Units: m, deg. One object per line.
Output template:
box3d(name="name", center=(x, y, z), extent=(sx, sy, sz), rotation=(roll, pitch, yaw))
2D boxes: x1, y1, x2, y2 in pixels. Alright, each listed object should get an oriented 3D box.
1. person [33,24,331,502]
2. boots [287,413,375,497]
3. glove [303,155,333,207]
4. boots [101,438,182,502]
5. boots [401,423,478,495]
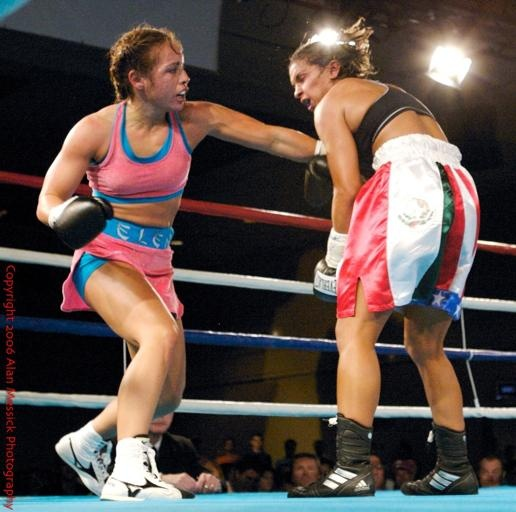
box3d(name="person", center=(-0.362, 0.003, 2.156), extent=(0.457, 1.486, 0.707), rotation=(-11, -24, 39))
box3d(name="boots", center=(0.230, 0.616, 2.014), extent=(0.251, 0.254, 0.123), rotation=(2, -19, 7))
box3d(name="glove", center=(0.232, -0.296, 2.567), extent=(0.177, 0.161, 0.161), rotation=(-5, -55, 5))
box3d(name="boots", center=(-0.344, 0.627, 1.908), extent=(0.122, 0.163, 0.302), rotation=(-11, -27, 33))
box3d(name="boots", center=(0.651, 0.699, 2.232), extent=(0.128, 0.224, 0.287), rotation=(13, -26, -34))
